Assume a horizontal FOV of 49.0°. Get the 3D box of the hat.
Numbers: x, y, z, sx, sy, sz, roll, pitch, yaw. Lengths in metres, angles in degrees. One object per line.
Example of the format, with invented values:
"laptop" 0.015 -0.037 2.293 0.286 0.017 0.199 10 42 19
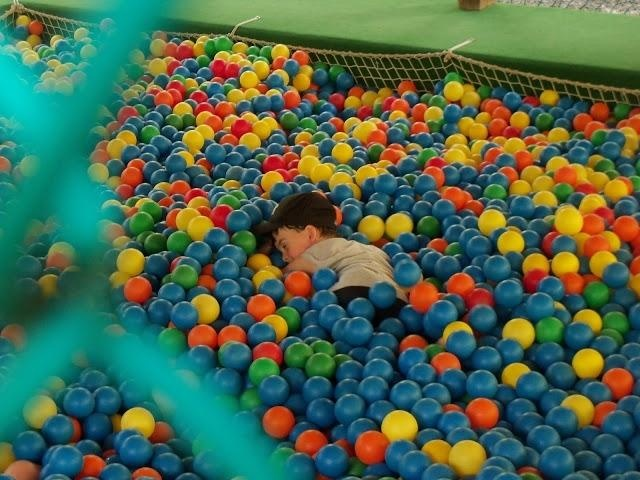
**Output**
"hat" -0.116 -0.117 3.275 0.385 0.204 0.268 -4 -8 1
